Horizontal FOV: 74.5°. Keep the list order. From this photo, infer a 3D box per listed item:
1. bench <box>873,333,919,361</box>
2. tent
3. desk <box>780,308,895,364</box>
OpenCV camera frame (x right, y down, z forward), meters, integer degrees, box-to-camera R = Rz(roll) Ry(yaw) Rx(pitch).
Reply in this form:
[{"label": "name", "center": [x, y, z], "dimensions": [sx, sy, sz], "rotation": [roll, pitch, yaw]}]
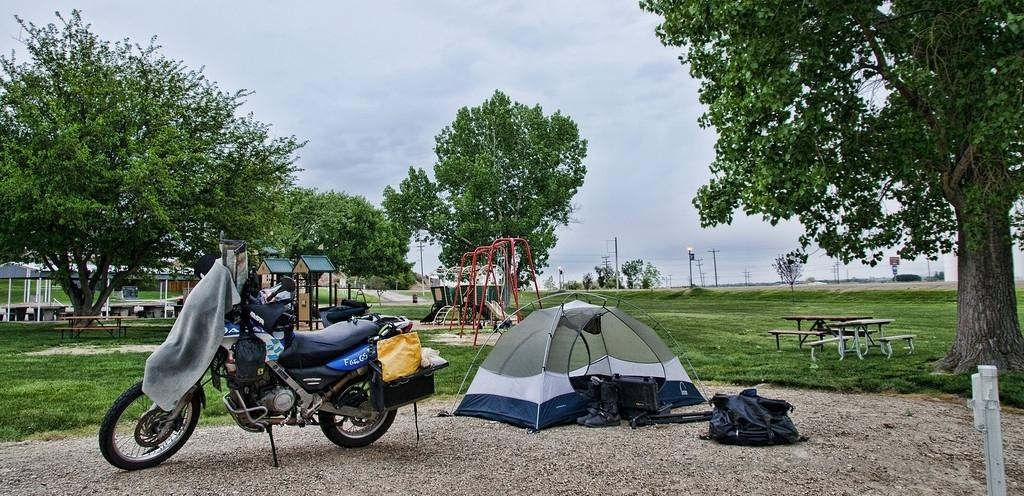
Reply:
[{"label": "bench", "center": [15.714, 3.998, 27.526], "dimensions": [1.283, 0.819, 3.692], "rotation": [-5, -7, 30]}, {"label": "tent", "center": [1.217, 3.769, 22.700], "dimensions": [6.306, 2.969, 4.728], "rotation": [4, -6, -33]}, {"label": "desk", "center": [13.850, 3.612, 28.384], "dimensions": [3.236, 1.122, 3.509], "rotation": [6, -10, -34]}]
